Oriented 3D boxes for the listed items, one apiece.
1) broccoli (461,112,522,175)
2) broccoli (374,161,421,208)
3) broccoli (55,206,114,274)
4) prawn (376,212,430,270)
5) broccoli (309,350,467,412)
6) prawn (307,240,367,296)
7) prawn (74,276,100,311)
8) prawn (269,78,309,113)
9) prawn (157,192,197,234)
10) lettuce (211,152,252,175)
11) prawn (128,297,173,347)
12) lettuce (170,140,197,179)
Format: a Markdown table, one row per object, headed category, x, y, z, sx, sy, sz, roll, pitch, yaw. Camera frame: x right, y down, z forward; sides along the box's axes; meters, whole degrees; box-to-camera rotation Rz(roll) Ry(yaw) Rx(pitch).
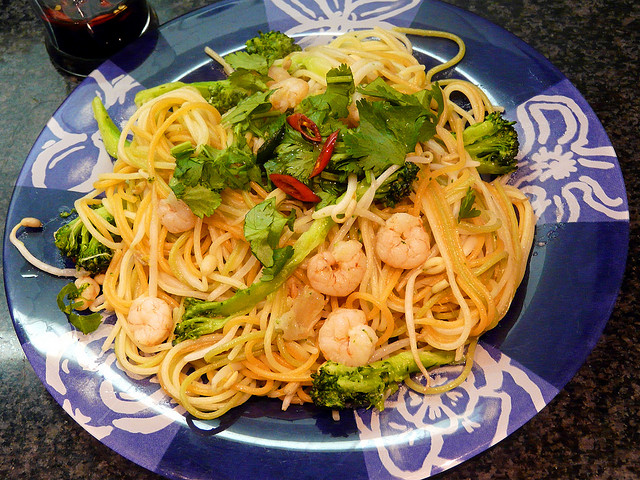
| category | x | y | z | sx | sy | sz | roll | pitch | yaw |
| --- | --- | --- | --- | --- | --- | --- | --- | --- | --- |
| broccoli | 1.074 | -0.612 | 3.859 | 0.389 | 0.181 | 0.378 | 7 | 97 | 24 |
| broccoli | 0.451 | -0.331 | 3.670 | 0.277 | 0.160 | 0.243 | -6 | 70 | 0 |
| broccoli | -1.470 | -0.017 | 3.936 | 0.353 | 0.344 | 0.334 | -6 | 109 | -20 |
| prawn | 0.493 | 0.009 | 3.690 | 0.317 | 0.223 | 0.311 | 18 | 86 | 3 |
| broccoli | 0.406 | 0.766 | 3.476 | 0.863 | 0.314 | 0.321 | -17 | 110 | -6 |
| prawn | 0.112 | 0.165 | 3.625 | 0.338 | 0.147 | 0.274 | -28 | 89 | -15 |
| prawn | -1.415 | 0.316 | 3.744 | 0.144 | 0.072 | 0.179 | 14 | 67 | -17 |
| prawn | -0.180 | -0.895 | 3.894 | 0.246 | 0.074 | 0.179 | -36 | 65 | 7 |
| prawn | -0.880 | -0.157 | 3.818 | 0.159 | 0.175 | 0.257 | 0 | 113 | 3 |
| lettuce | -0.527 | -0.469 | 3.640 | 0.227 | 0.045 | 0.106 | -15 | 85 | -1 |
| prawn | -0.991 | 0.455 | 3.746 | 0.279 | 0.265 | 0.275 | 17 | 111 | 34 |
| lettuce | -0.821 | -0.503 | 3.736 | 0.189 | 0.088 | 0.246 | -1 | 84 | 15 |
